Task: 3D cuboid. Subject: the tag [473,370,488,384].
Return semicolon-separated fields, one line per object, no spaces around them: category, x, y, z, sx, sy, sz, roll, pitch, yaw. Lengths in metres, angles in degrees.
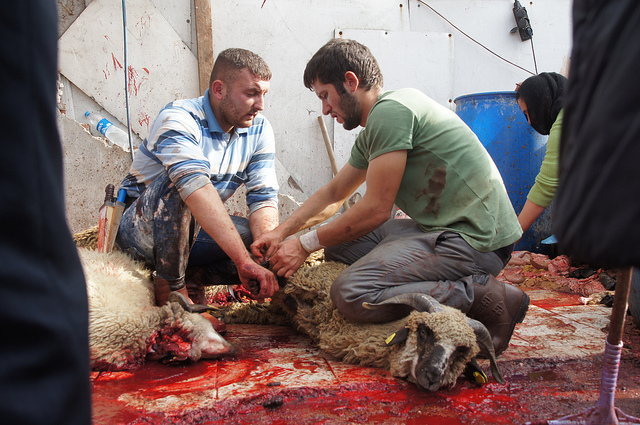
tag;0.773;0.796;2.456;0.028;0.036;0.080;3;-8;-11

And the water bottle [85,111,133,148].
water bottle;-1.992;-0.761;4.769;0.414;0.126;0.128;39;39;4

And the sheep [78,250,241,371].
sheep;-1.003;0.591;2.857;0.922;0.398;0.599;22;19;17

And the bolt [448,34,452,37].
bolt;1.408;-1.902;5.521;0.046;0.027;0.008;-4;9;-25

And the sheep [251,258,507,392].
sheep;0.327;0.599;2.766;0.449;0.437;1.276;-7;11;-41

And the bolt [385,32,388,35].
bolt;0.701;-1.881;5.394;0.028;0.019;0.001;-2;9;-11

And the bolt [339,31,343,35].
bolt;0.214;-1.853;5.294;0.026;0.032;0.008;0;8;1

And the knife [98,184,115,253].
knife;-1.397;0.034;3.321;0.114;0.406;0.270;-4;9;-22

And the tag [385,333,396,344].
tag;0.338;0.609;2.471;0.013;0.054;0.027;43;-2;-33
